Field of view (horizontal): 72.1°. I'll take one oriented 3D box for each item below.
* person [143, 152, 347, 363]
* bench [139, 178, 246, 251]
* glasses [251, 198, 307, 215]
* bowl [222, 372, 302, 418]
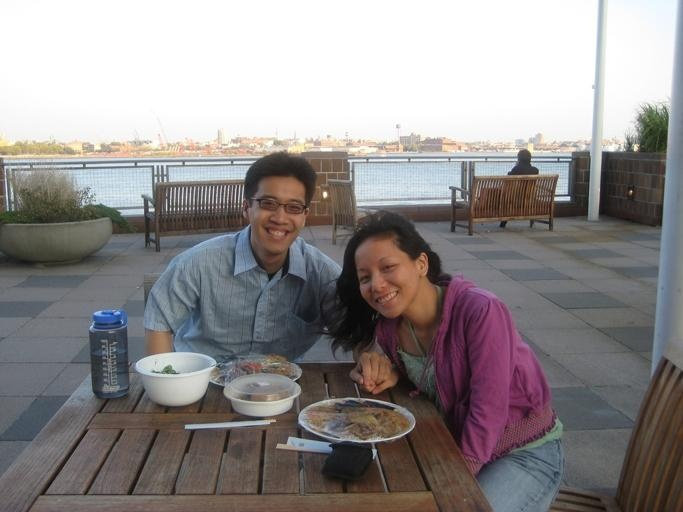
[{"bbox_3d":[-0.498,0.036,2.436,0.988,1.093,0.304,-3,13,-13],"label":"person"},{"bbox_3d":[-2.750,-0.877,9.446,2.201,1.341,0.871,-9,20,-41],"label":"bench"},{"bbox_3d":[-0.303,-0.250,2.347,0.256,0.085,0.067,-2,13,-8],"label":"glasses"},{"bbox_3d":[-0.284,0.521,1.753,0.270,0.087,0.280,3,7,0],"label":"bowl"}]
